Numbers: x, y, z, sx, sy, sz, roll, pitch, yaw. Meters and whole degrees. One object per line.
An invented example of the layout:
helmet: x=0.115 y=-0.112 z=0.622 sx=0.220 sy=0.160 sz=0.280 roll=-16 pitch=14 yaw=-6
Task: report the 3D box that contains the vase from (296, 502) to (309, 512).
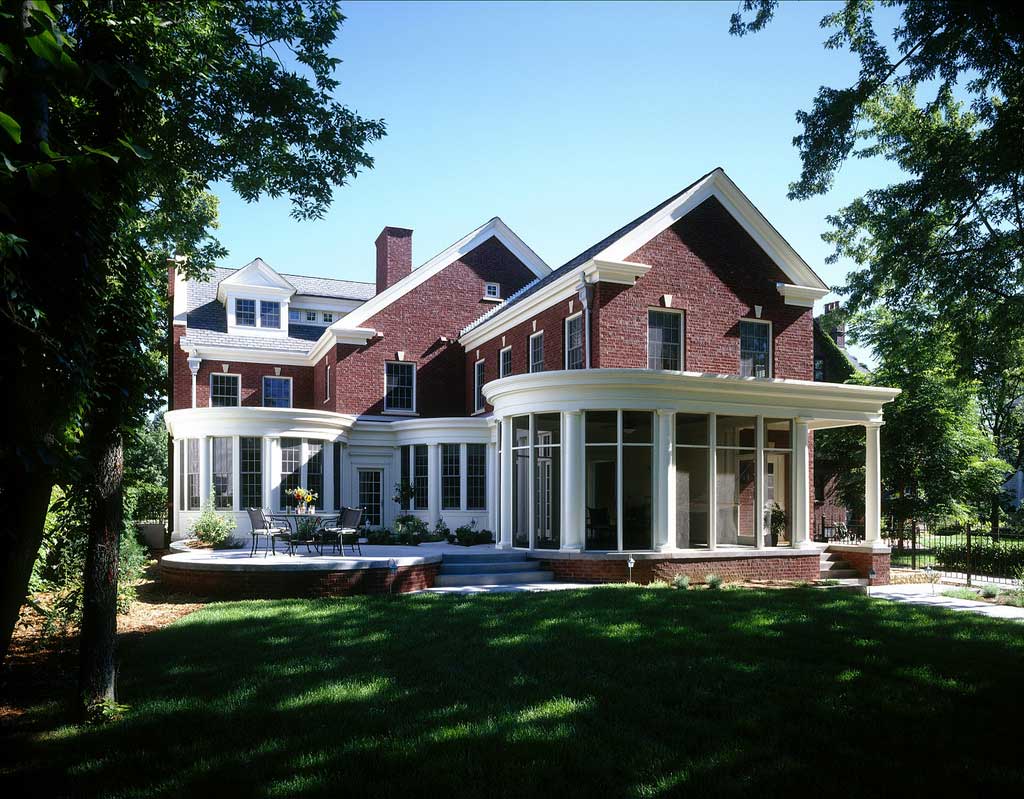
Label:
vase: x=-5.064 y=2.605 z=23.972 sx=0.263 sy=0.259 sz=0.356 roll=-4 pitch=-11 yaw=21
